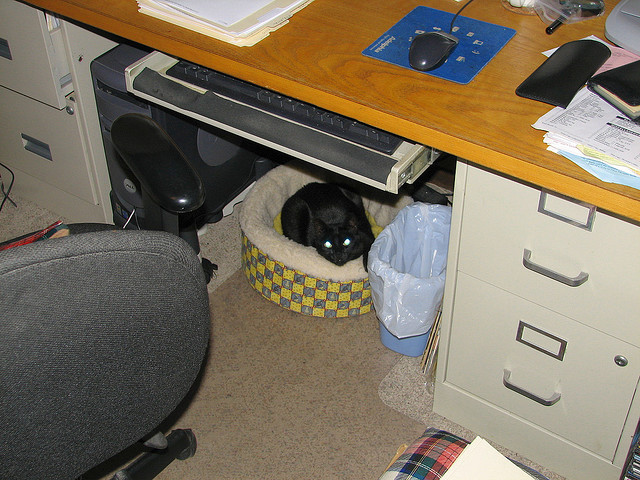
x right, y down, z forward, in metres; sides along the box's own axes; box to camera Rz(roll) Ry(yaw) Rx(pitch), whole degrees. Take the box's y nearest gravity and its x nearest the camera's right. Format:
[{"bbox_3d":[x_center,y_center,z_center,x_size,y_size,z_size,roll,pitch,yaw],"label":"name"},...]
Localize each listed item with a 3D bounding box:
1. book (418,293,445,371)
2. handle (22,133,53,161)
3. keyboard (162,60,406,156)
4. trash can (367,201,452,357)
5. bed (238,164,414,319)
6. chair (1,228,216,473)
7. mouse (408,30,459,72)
[{"bbox_3d":[0.330,0.298,1.571,0.032,0.224,0.032,9,40,1],"label":"book"},{"bbox_3d":[-0.996,-0.333,1.854,0.083,0.079,0.031,22,59,13],"label":"handle"},{"bbox_3d":[-0.101,-0.319,1.222,0.623,0.121,0.064,29,56,9],"label":"keyboard"},{"bbox_3d":[0.272,0.132,1.555,0.270,0.328,0.304,18,43,21],"label":"trash can"},{"bbox_3d":[-0.019,-0.012,1.890,0.535,0.214,0.531,13,37,-2],"label":"bed"},{"bbox_3d":[-0.306,0.164,0.740,0.321,0.412,0.168,-17,59,-20],"label":"chair"},{"bbox_3d":[0.243,-0.415,1.134,0.085,0.047,0.139,29,56,10],"label":"mouse"}]
